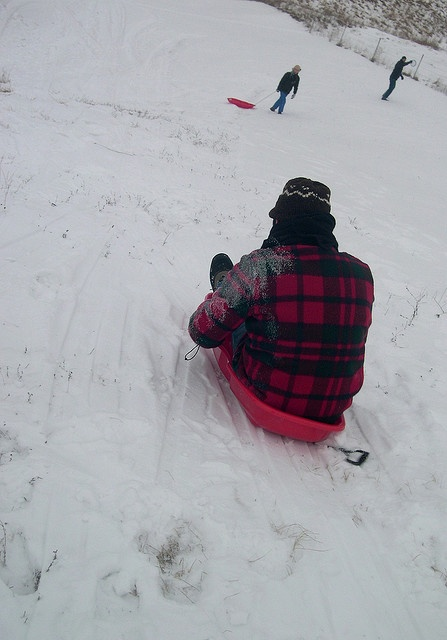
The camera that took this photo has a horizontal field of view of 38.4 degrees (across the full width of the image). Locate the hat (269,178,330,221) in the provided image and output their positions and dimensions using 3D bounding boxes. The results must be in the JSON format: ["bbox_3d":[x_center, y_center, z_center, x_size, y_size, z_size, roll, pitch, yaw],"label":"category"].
[{"bbox_3d":[0.553,-0.868,4.732,0.440,0.255,0.286,9,31,22],"label":"hat"}]

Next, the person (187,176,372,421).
[{"bbox_3d":[0.534,-0.049,4.733,0.871,1.529,1.261,-26,55,-32],"label":"person"}]
